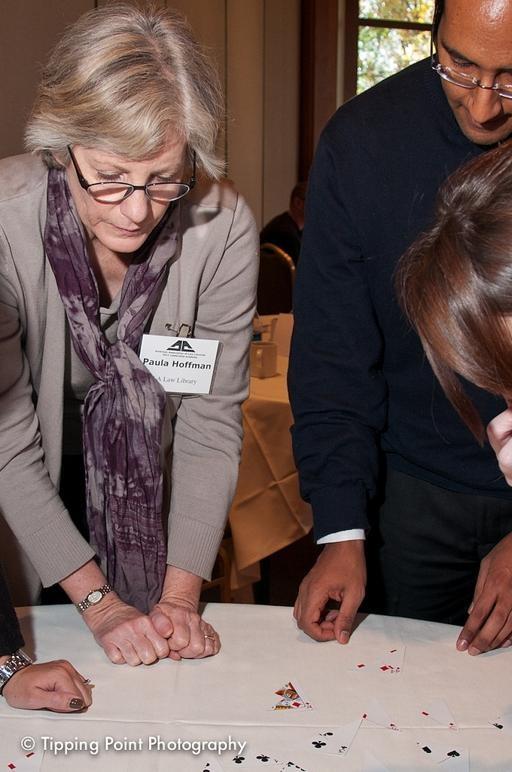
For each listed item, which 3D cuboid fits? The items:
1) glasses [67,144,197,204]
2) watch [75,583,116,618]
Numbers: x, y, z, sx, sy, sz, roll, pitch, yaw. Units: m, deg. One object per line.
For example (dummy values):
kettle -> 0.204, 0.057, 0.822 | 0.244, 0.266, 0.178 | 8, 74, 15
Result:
glasses -> -0.191, -0.326, 1.053 | 0.181, 0.090, 0.073 | -9, 32, -14
watch -> -0.261, 0.346, 1.084 | 0.057, 0.030, 0.054 | -30, -13, 10
